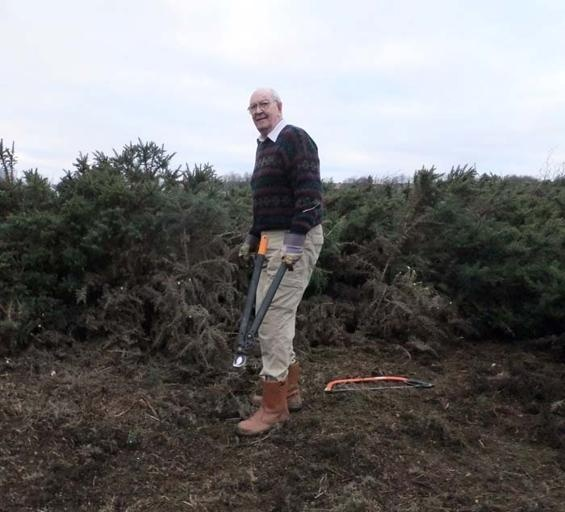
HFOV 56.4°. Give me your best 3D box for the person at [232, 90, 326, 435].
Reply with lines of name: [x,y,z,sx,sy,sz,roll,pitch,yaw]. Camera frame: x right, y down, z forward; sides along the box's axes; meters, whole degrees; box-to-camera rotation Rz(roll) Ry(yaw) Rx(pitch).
person: [0.026,-0.029,4.807,1.028,2.612,0.910,0,3,-13]

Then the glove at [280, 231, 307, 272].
glove: [0.070,-0.036,4.267,0.168,0.313,0.076,8,-2,7]

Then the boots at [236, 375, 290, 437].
boots: [-0.166,1.314,4.606,0.380,0.375,0.658,9,7,19]

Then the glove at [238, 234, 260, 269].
glove: [-0.326,-0.053,4.945,0.167,0.316,0.087,8,3,-7]

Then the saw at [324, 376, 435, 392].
saw: [0.935,1.244,5.310,1.132,0.078,0.340,-1,15,-11]
